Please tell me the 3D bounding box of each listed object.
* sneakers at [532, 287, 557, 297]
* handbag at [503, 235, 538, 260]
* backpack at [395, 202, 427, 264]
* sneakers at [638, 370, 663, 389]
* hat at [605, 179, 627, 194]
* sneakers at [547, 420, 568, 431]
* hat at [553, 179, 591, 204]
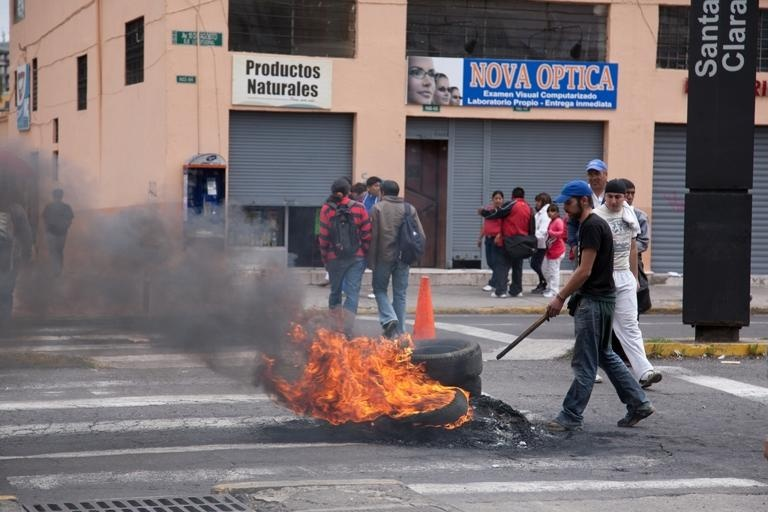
[{"bbox_3d":[3.210,0.701,27.877,0.162,0.192,0.463,2,-6,-32],"label":"sneakers"},{"bbox_3d":[2.586,-0.193,26.856,0.423,0.227,0.547,-8,0,-33],"label":"handbag"},{"bbox_3d":[0.425,-0.328,22.050,0.477,0.954,0.317,13,8,22],"label":"backpack"},{"bbox_3d":[3.781,1.718,19.754,0.171,0.200,0.454,5,-24,-40],"label":"sneakers"},{"bbox_3d":[3.218,-0.982,19.365,0.224,0.150,0.218,-6,11,-32],"label":"hat"},{"bbox_3d":[2.324,2.237,18.666,0.259,0.107,0.131,3,2,3],"label":"sneakers"},{"bbox_3d":[2.543,-0.893,19.012,0.455,0.233,0.285,-2,4,0],"label":"hat"}]
